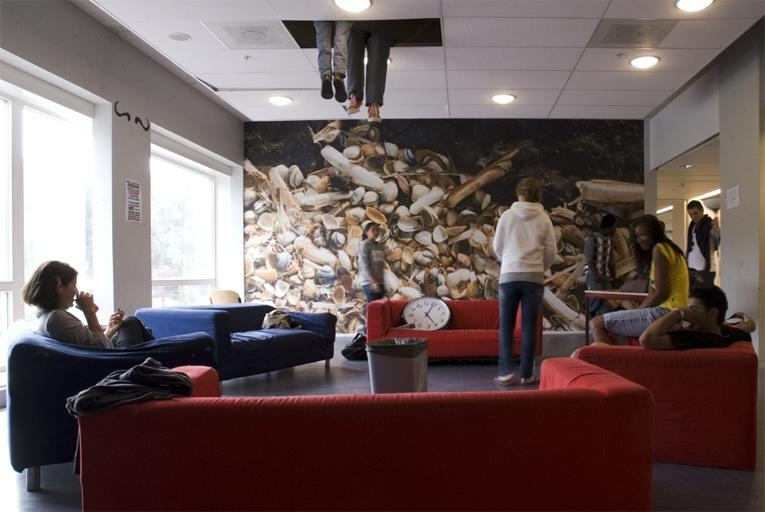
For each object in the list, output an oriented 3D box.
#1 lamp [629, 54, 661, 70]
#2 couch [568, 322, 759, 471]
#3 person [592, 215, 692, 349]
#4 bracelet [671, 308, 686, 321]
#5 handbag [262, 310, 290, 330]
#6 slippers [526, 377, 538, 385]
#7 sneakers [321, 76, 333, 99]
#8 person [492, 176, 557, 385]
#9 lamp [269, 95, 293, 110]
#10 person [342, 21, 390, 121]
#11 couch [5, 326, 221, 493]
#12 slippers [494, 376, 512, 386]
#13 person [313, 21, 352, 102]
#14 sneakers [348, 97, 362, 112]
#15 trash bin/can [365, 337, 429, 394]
[{"bbox_3d":[3.169,-2.331,6.825,0.351,0.077,0.401,2,4,12],"label":"lamp"},{"bbox_3d":[2.183,0.992,4.206,1.002,0.742,1.013,-2,-5,24],"label":"couch"},{"bbox_3d":[2.246,0.405,4.877,0.869,1.437,0.533,-5,-10,42],"label":"person"},{"bbox_3d":[2.200,0.428,4.175,0.026,0.087,0.095,-7,15,-23],"label":"bracelet"},{"bbox_3d":[-1.271,0.776,6.788,0.252,0.109,0.256,2,4,-3],"label":"handbag"},{"bbox_3d":[1.483,1.239,5.610,0.069,0.084,0.206,-5,-14,32],"label":"slippers"},{"bbox_3d":[-0.604,-1.767,6.069,0.137,0.126,0.304,0,-35,-7],"label":"sneakers"},{"bbox_3d":[1.379,0.271,5.537,0.593,2.041,0.352,2,5,14],"label":"person"},{"bbox_3d":[-1.477,-2.214,8.102,0.339,0.076,0.459,0,4,-10],"label":"lamp"},{"bbox_3d":[-0.175,-2.144,6.281,0.514,1.239,0.356,5,-14,-13],"label":"person"},{"bbox_3d":[-2.219,0.991,4.363,1.043,0.682,1.434,0,-1,-29],"label":"couch"},{"bbox_3d":[1.213,1.238,5.621,0.069,0.082,0.205,-1,-1,-40],"label":"slippers"},{"bbox_3d":[-0.555,-2.097,6.080,0.401,0.805,0.362,1,5,-5],"label":"person"},{"bbox_3d":[-0.307,-1.630,6.117,0.123,0.180,0.312,1,5,-2],"label":"sneakers"},{"bbox_3d":[0.096,0.715,3.822,0.433,0.488,0.364,-2,-11,2],"label":"trash bin/can"}]
